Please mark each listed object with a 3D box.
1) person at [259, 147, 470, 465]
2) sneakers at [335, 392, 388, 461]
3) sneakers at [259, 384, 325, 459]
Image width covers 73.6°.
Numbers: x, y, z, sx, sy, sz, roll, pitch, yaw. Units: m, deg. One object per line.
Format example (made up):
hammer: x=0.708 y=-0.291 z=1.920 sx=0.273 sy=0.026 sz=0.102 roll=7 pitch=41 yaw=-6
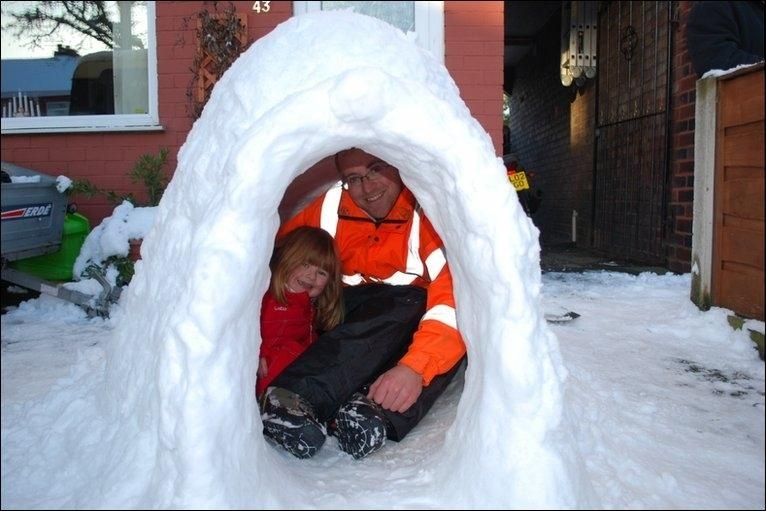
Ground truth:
person: x=-0.036 y=0.207 z=2.731 sx=0.974 sy=1.556 sz=0.829 roll=4 pitch=0 yaw=9
sneakers: x=-0.109 y=0.830 z=2.471 sx=0.226 sy=0.297 sz=0.109 roll=4 pitch=0 yaw=28
sneakers: x=-0.445 y=0.796 z=2.455 sx=0.361 sy=0.166 sz=0.218 roll=33 pitch=-42 yaw=-17
